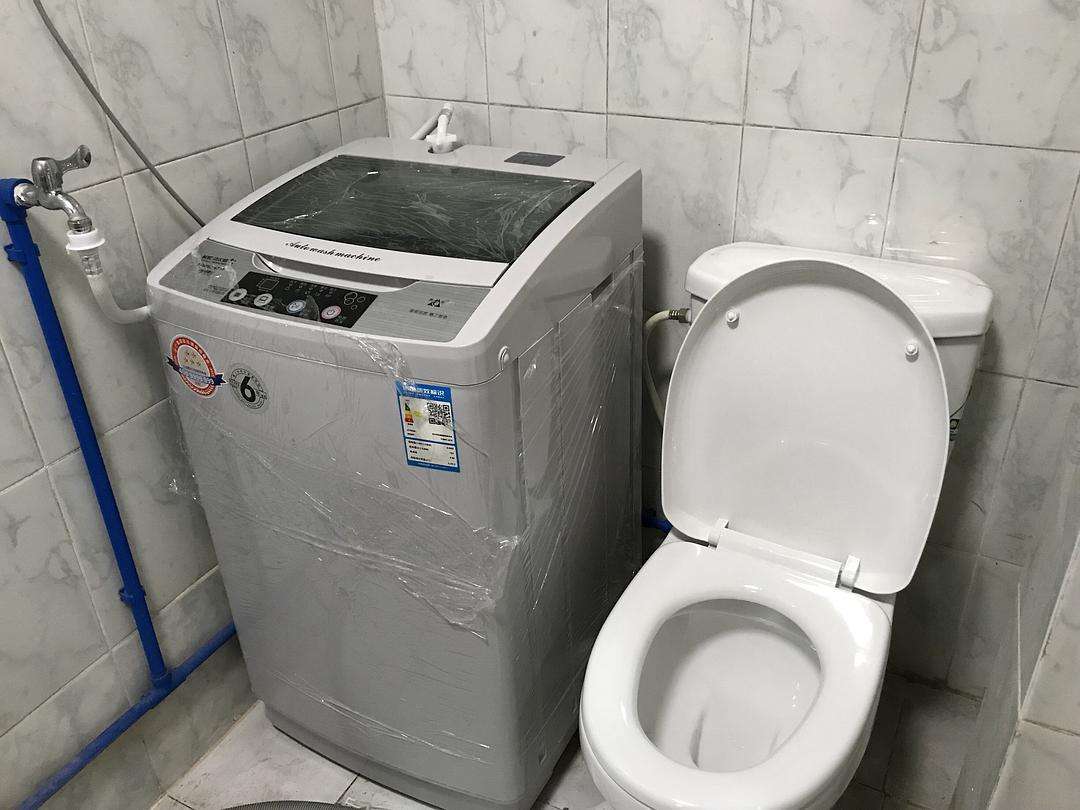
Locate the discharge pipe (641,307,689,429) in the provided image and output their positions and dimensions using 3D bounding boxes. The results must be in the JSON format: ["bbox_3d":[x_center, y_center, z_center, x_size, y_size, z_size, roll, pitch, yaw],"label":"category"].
[{"bbox_3d":[0.281,-0.077,1.723,0.096,0.299,0.028,7,35,23],"label":"discharge pipe"}]

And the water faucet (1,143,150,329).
[{"bbox_3d":[-0.735,-0.256,1.251,0.146,0.299,0.090,-20,37,-32],"label":"water faucet"}]
